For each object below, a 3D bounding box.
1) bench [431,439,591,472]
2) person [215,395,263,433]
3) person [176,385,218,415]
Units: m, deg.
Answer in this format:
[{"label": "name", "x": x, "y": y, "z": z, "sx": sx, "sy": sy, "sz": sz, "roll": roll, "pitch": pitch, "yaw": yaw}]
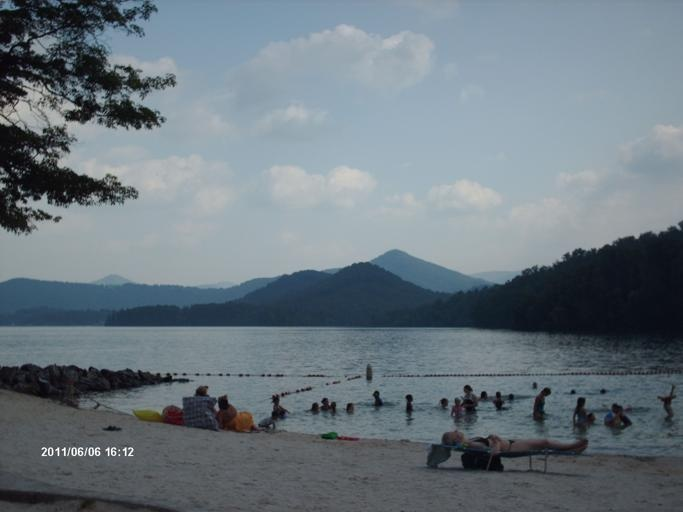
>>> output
[{"label": "bench", "x": 5.262, "y": 6.932, "z": 26.166, "sx": 4.312, "sy": 0.748, "sz": 2.087, "roll": -2, "pitch": -3, "yaw": 3}, {"label": "person", "x": -4.424, "y": 6.533, "z": 30.620, "sx": 0.932, "sy": 1.261, "sz": 2.625, "roll": 18, "pitch": -9, "yaw": -35}, {"label": "person", "x": -5.585, "y": 5.662, "z": 29.658, "sx": 1.326, "sy": 1.527, "sz": 0.918, "roll": 6, "pitch": 12, "yaw": -9}]
